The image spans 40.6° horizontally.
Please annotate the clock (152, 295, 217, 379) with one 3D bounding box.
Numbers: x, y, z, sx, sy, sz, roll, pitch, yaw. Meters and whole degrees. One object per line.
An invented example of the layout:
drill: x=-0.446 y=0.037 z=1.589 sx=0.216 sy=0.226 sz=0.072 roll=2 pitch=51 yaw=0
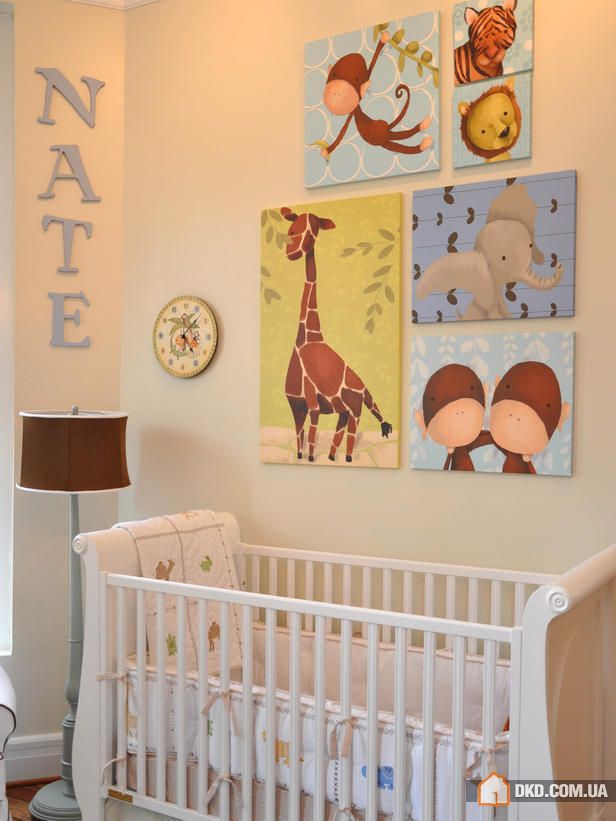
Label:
clock: x=-0.367 y=-0.229 z=2.564 sx=0.211 sy=0.265 sz=0.022 roll=-2 pitch=-1 yaw=40
